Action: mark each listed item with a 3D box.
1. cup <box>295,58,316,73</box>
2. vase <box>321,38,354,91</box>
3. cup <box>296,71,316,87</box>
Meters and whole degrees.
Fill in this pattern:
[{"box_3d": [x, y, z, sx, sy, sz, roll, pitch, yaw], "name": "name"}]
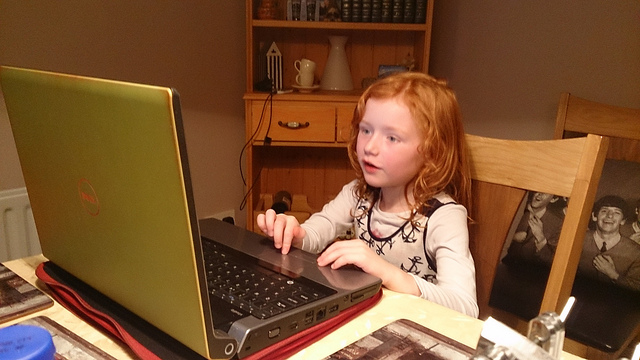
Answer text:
[{"box_3d": [-0.105, -0.695, 2.660, 0.141, 0.097, 0.091, 6, 13, 28], "name": "cup"}, {"box_3d": [0.106, -0.699, 2.662, 0.284, 0.341, 0.269, 3, 7, 10], "name": "vase"}, {"box_3d": [-0.102, -0.620, 2.676, 0.132, 0.091, 0.090, 6, 12, 37], "name": "cup"}]
